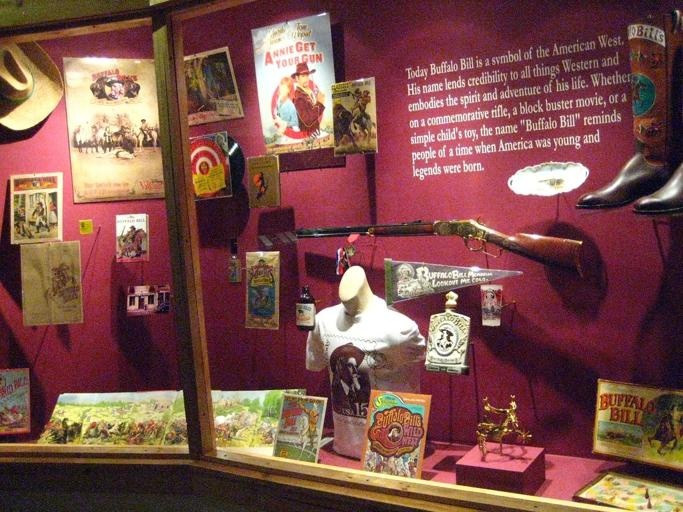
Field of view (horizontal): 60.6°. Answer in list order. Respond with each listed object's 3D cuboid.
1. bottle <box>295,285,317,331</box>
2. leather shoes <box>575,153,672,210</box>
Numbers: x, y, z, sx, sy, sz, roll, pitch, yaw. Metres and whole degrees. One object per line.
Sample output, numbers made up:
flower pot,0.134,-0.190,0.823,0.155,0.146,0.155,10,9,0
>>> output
bottle,-0.198,0.284,3.282,0.122,0.239,0.181,-1,3,-5
leather shoes,1.324,-0.357,2.727,0.486,0.210,0.176,-9,9,-10
